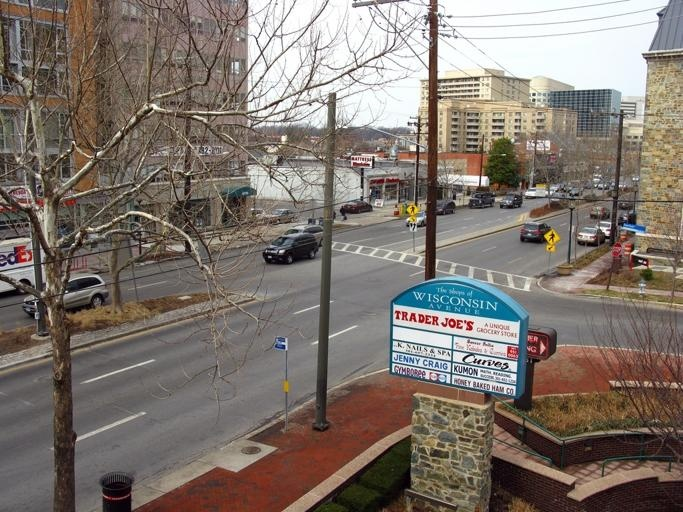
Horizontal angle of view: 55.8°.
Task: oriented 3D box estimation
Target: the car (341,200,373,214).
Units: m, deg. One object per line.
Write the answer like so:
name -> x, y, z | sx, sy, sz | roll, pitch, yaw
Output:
car -> 1.621, -5.255, 68.801 | 1.786, 1.373, 4.159 | 5, 14, 29

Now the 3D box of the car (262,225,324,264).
car -> -2.959, -0.842, 42.171 | 1.911, 1.829, 4.387 | 2, 7, 30

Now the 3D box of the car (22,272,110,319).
car -> -10.195, 1.537, 24.149 | 1.882, 1.825, 3.514 | 4, 5, 41
